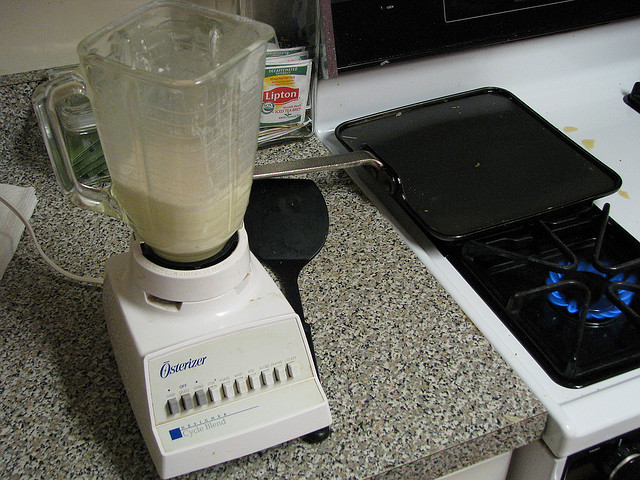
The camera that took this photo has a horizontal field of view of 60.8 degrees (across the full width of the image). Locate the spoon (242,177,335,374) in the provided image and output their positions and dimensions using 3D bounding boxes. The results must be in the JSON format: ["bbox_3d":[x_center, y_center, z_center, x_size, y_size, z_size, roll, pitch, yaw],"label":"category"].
[{"bbox_3d":[-0.055,0.066,0.898,0.156,0.044,0.337,-3,78,-37],"label":"spoon"}]

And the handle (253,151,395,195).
[{"bbox_3d":[0.008,-0.124,0.923,0.178,0.042,0.102,-11,43,-13],"label":"handle"}]

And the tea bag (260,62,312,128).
[{"bbox_3d":[-0.073,-0.270,1.020,0.119,0.124,0.018,-13,35,-31],"label":"tea bag"}]
